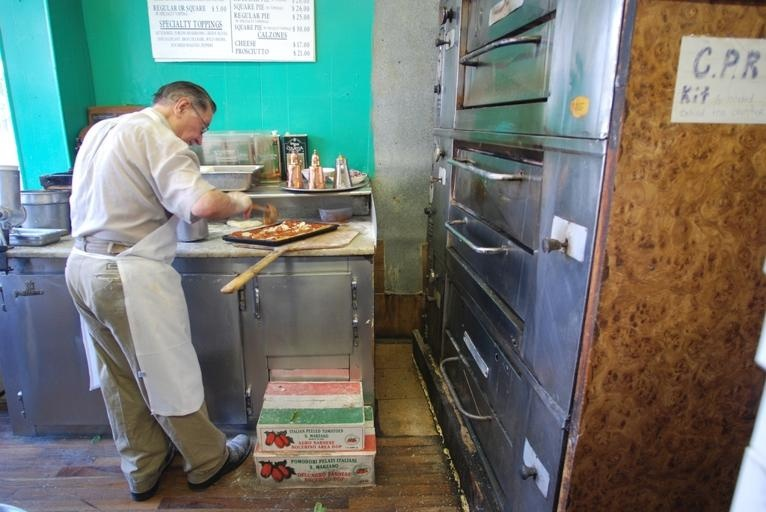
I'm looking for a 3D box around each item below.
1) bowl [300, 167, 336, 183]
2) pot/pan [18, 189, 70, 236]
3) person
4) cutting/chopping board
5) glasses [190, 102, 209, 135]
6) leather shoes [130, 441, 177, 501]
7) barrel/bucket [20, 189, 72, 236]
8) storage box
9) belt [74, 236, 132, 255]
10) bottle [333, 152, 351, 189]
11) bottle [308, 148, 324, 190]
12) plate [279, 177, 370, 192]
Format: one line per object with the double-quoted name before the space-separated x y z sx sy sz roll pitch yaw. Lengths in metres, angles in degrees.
"bowl" -0.427 -0.602 4.183 0.175 0.062 0.170 1 17 0
"pot/pan" -2.046 -0.261 3.416 0.257 0.258 0.252 -5 13 -37
"person" -1.200 0.218 2.987 0.897 2.222 0.514 -6 13 -15
"cutting/chopping board" -0.504 -0.036 3.205 0.376 0.094 0.654 -1 16 32
"glasses" -0.993 -0.738 3.048 0.032 0.108 0.105 -40 29 -24
"leather shoes" -1.313 1.234 3.203 0.095 0.109 0.271 5 26 5
"barrel/bucket" -2.034 -0.272 3.483 0.271 0.270 0.269 2 9 0
"storage box" -0.376 0.880 3.239 0.737 0.433 0.498 0 20 -2
"belt" -1.460 -0.050 2.885 0.144 0.033 0.140 10 8 2
"bottle" -0.294 -0.589 3.975 0.115 0.248 0.113 -3 0 0
"bottle" -0.475 -0.594 3.930 0.108 0.255 0.209 -3 11 -1
"plate" -0.360 -0.506 4.011 0.657 0.108 0.269 -9 12 -31
